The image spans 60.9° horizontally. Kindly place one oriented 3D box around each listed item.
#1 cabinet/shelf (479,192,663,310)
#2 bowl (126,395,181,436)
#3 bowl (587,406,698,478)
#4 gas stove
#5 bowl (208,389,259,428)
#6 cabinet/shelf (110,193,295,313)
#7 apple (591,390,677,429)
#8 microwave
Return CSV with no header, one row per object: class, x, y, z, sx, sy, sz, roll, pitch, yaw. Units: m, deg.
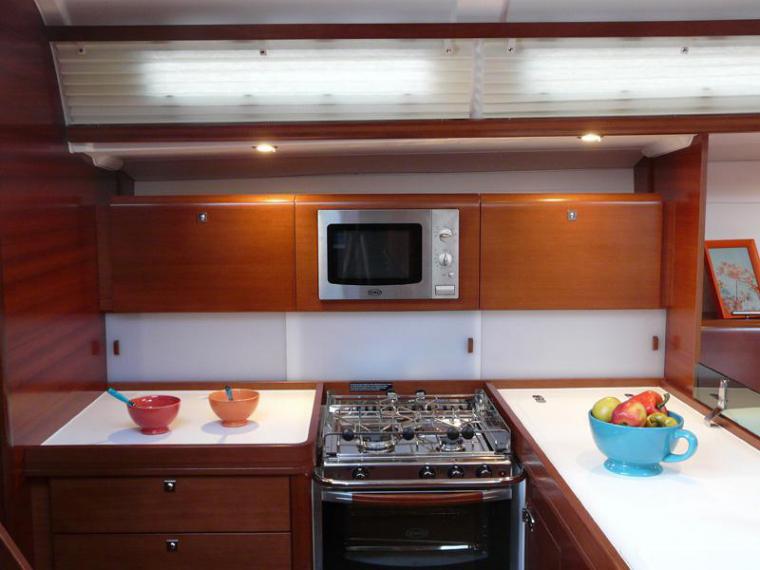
cabinet/shelf,0.807,-0.147,3.056,0.880,0.489,0.445,0,0,-9
bowl,-0.900,0.512,2.605,0.172,0.094,0.165,1,7,0
bowl,0.910,0.555,2.254,0.362,0.163,0.287,0,1,42
gas stove,0.132,0.578,2.676,0.737,0.205,0.597,1,-2,-3
bowl,-0.632,0.517,2.658,0.223,0.121,0.215,-8,1,0
cabinet/shelf,-0.727,-0.152,3.060,0.897,0.515,0.457,1,3,12
apple,0.867,0.424,2.229,0.190,0.089,0.141,-7,-9,30
microwave,0.040,-0.134,2.879,0.741,0.426,0.378,0,1,0
